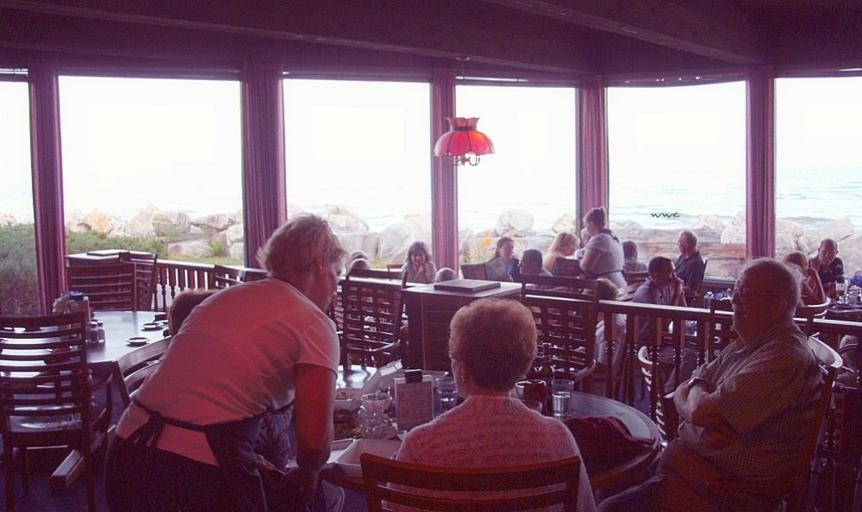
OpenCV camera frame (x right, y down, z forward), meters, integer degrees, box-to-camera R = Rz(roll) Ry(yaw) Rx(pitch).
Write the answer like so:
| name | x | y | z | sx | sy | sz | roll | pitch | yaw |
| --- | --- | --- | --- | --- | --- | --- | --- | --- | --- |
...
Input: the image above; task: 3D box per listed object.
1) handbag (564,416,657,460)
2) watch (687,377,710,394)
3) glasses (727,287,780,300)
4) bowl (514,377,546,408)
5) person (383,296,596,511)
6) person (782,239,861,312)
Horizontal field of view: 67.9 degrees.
| name | x | y | z | sx | sy | sz | roll | pitch | yaw |
| --- | --- | --- | --- | --- | --- | --- | --- | --- | --- |
| handbag | 1.044 | 1.086 | 3.815 | 0.316 | 0.102 | 0.305 | -1 | 9 | -15 |
| watch | 1.769 | 0.841 | 4.226 | 0.103 | 0.107 | 0.070 | 34 | 33 | -11 |
| glasses | 2.080 | 0.242 | 4.096 | 0.169 | 0.047 | 0.164 | 7 | -4 | -11 |
| bowl | 0.658 | 0.876 | 4.206 | 0.190 | 0.262 | 0.279 | -1 | -3 | 23 |
| person | 0.398 | 0.879 | 3.738 | 1.480 | 1.365 | 0.720 | -1 | 11 | -5 |
| person | 4.426 | 0.211 | 7.216 | 0.558 | 1.291 | 0.758 | -9 | -21 | 28 |
